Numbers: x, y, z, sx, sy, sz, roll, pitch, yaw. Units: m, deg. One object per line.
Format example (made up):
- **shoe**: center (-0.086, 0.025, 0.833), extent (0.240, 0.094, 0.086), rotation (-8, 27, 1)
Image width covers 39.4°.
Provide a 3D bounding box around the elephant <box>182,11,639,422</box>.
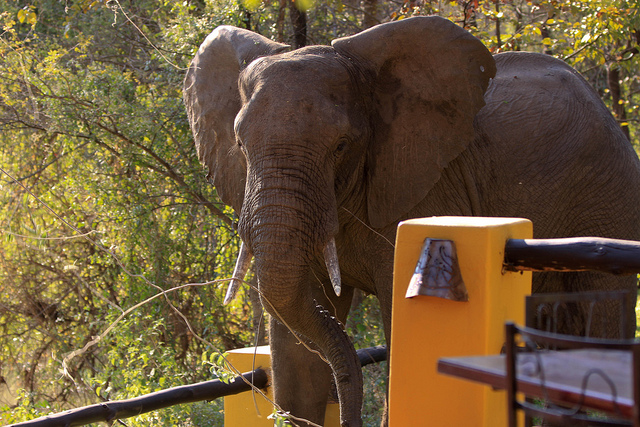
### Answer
- **elephant**: center (0.469, 0.010, 7.274), extent (3.741, 2.818, 2.166), rotation (3, -11, -26)
